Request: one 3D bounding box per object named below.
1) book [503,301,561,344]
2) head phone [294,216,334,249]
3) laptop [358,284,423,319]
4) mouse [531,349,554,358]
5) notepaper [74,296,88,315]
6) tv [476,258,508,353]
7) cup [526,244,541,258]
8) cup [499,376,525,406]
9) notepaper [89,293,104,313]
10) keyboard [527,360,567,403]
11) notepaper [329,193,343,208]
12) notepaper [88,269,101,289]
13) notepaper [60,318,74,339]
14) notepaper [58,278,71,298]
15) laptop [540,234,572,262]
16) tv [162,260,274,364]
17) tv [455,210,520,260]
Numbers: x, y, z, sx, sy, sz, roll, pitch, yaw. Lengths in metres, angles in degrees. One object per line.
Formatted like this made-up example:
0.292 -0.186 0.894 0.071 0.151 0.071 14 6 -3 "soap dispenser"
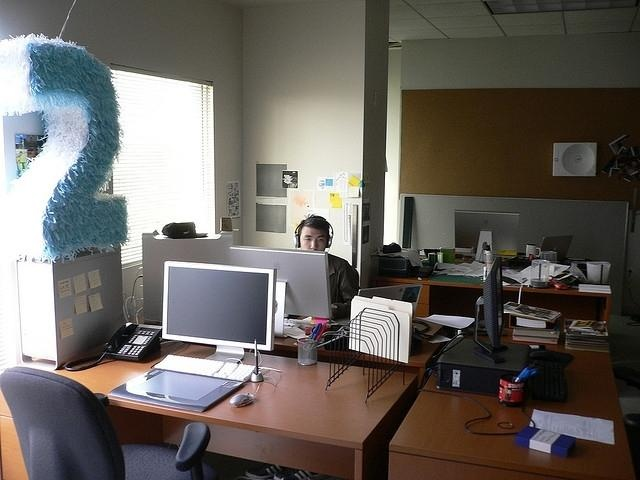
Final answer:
1.316 0.528 3.042 0.270 0.095 0.263 7 14 42 "book"
-0.055 -0.049 3.615 0.273 0.251 0.300 0 7 0 "head phone"
0.442 0.314 3.041 0.289 0.200 0.215 -2 8 -27 "laptop"
1.137 0.583 2.500 0.090 0.028 0.062 0 3 -1 "mouse"
-1.374 0.375 2.788 0.015 0.114 0.104 2 -6 15 "notepaper"
1.023 0.403 2.888 0.156 0.469 0.458 -2 8 11 "tv"
2.117 0.119 4.884 0.178 0.188 0.107 1 5 22 "cup"
0.870 0.700 2.212 0.115 0.107 0.104 1 3 0 "cup"
-1.330 0.375 2.884 0.017 0.110 0.116 -1 7 21 "notepaper"
1.076 0.672 2.318 0.178 0.176 0.166 2 9 24 "keyboard"
0.161 -0.382 4.707 0.135 0.126 0.018 2 -3 26 "notepaper"
-1.332 0.232 2.869 0.016 0.119 0.111 -1 3 11 "notepaper"
-1.411 0.497 2.705 0.014 0.133 0.125 5 3 17 "notepaper"
-1.404 0.268 2.680 0.019 0.080 0.082 -1 1 9 "notepaper"
2.263 0.040 4.756 0.352 0.232 0.252 -5 11 -28 "laptop"
-0.562 0.407 2.687 0.511 0.396 0.138 3 8 15 "tv"
1.734 -0.114 5.053 0.803 0.601 0.393 4 14 21 "tv"
